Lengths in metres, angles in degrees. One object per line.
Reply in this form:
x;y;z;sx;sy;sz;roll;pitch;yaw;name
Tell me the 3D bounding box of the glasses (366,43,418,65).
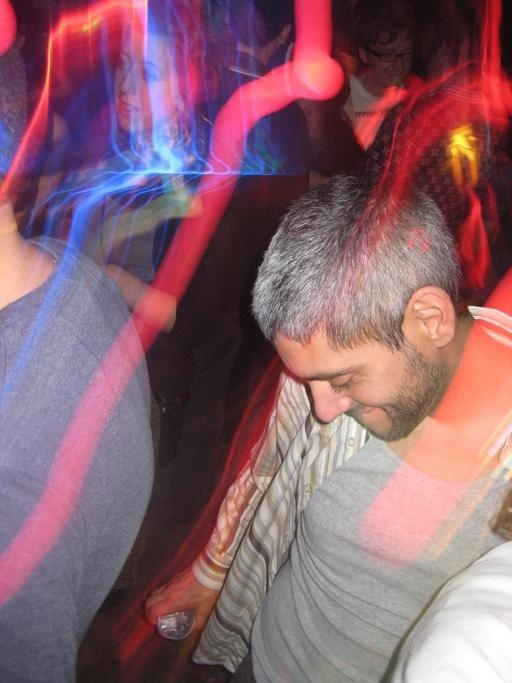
0.812;-1.733;3.346;0.269;0.106;0.118;7;28;13;glasses
